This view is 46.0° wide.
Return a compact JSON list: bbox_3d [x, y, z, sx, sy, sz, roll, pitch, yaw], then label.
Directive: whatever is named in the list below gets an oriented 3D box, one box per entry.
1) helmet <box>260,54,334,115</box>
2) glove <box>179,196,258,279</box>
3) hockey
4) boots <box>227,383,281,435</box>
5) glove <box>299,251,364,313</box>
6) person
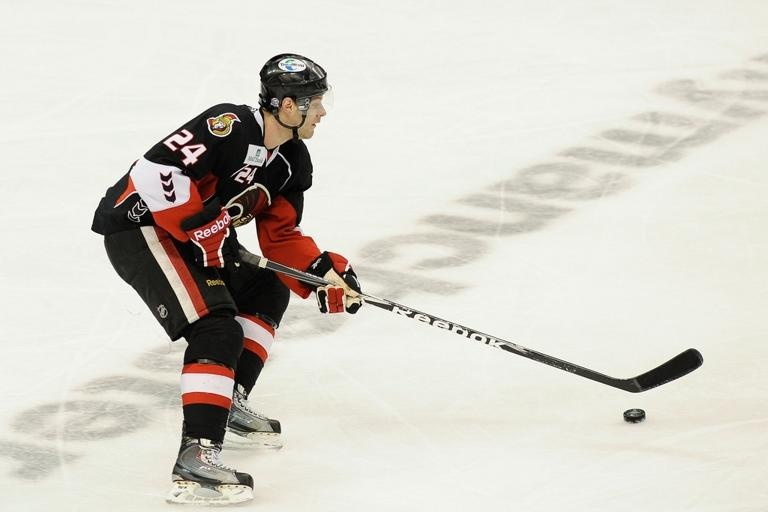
[{"bbox_3d":[-0.452,-0.805,4.367,0.385,0.256,0.245,-4,25,-15],"label":"helmet"},{"bbox_3d":[-0.879,-0.130,4.300,0.363,0.246,0.386,-17,19,-14],"label":"glove"},{"bbox_3d":[0.488,0.390,4.985,2.493,0.233,0.211,12,51,4],"label":"hockey"},{"bbox_3d":[-0.622,0.760,4.464,0.390,0.205,0.144,-2,-3,40],"label":"boots"},{"bbox_3d":[-0.239,0.128,4.451,0.342,0.281,0.141,25,32,25],"label":"glove"},{"bbox_3d":[-0.638,0.044,4.263,0.992,1.996,0.902,-6,16,-37],"label":"person"}]
